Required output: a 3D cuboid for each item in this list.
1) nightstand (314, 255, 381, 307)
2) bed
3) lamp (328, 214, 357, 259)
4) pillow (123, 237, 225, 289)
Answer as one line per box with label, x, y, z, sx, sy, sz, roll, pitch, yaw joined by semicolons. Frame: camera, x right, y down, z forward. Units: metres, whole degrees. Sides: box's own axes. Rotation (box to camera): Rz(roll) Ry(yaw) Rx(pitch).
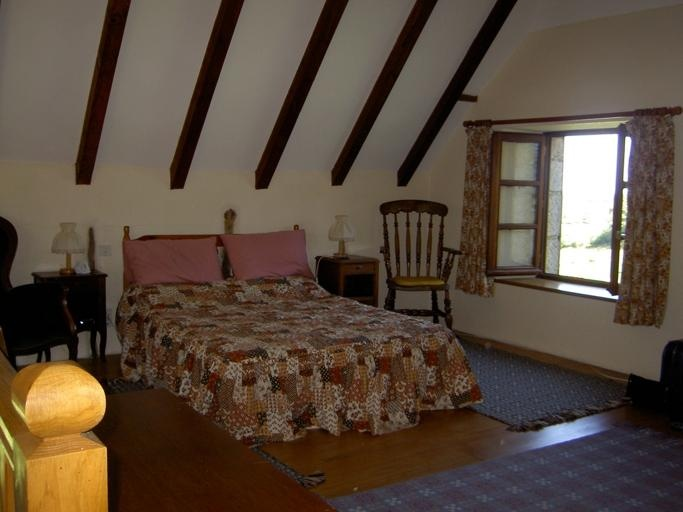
nightstand;0.105;0.199;5.456;0.495;0.742;0.539;-3;5;-33
bed;-0.620;0.534;3.891;1.548;1.046;2.110;-4;9;-31
lamp;-0.002;-0.212;5.345;0.369;0.588;0.391;1;6;13
pillow;-1.450;0.043;4.426;0.686;0.464;0.176;1;-17;-25
